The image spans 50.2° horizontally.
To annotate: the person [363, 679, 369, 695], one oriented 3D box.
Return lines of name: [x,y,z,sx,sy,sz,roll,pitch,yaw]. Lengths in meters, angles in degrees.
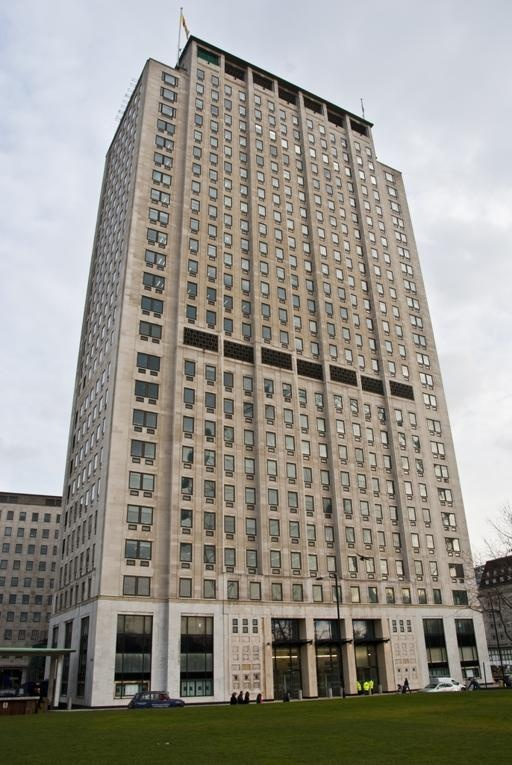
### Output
person: [12.141,32.684,58.502,0.806,1.038,2.383,-8,-25,9]

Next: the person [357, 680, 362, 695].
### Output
person: [11.370,32.600,58.400,0.444,1.161,1.943,-8,-25,11]
